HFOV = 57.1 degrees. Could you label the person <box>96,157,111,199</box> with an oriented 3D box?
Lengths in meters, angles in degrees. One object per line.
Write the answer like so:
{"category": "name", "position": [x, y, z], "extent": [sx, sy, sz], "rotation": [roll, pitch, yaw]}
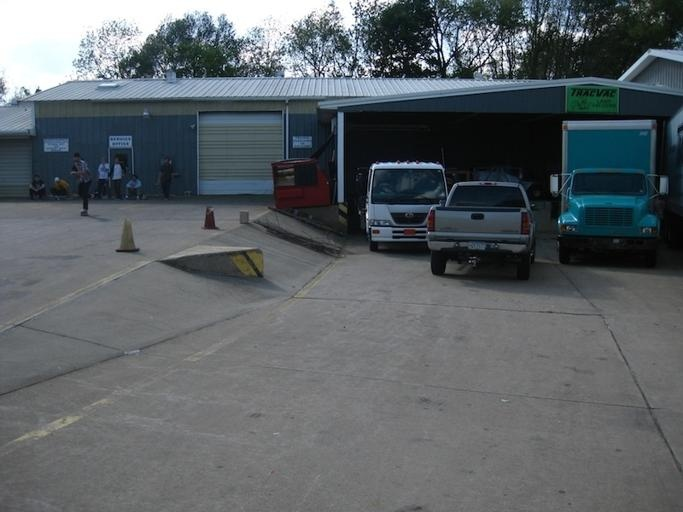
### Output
{"category": "person", "position": [-11.819, -3.870, 31.200], "extent": [0.638, 1.931, 0.928], "rotation": [-3, 8, -21]}

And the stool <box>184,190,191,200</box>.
{"category": "stool", "position": [-7.812, -3.162, 32.013], "extent": [0.373, 0.286, 1.542], "rotation": [-1, 9, -14]}

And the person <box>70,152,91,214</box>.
{"category": "person", "position": [-8.245, -2.313, 19.997], "extent": [0.541, 1.881, 0.657], "rotation": [2, 6, 0]}

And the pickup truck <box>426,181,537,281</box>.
{"category": "pickup truck", "position": [3.305, -0.624, 14.669], "extent": [2.186, 2.125, 2.145], "rotation": [3, 9, 19]}

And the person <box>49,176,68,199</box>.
{"category": "person", "position": [-14.003, -3.345, 31.358], "extent": [0.766, 0.891, 1.133], "rotation": [-3, 9, -24]}

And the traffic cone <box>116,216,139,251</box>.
{"category": "traffic cone", "position": [-4.663, -0.439, 13.783], "extent": [0.554, 0.712, 0.493], "rotation": [0, 2, -16]}

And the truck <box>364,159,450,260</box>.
{"category": "truck", "position": [2.184, -0.936, 21.079], "extent": [2.759, 3.049, 5.337], "rotation": [0, -10, 4]}

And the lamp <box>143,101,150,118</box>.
{"category": "lamp", "position": [-10.026, -7.410, 32.149], "extent": [0.448, 0.688, 0.383], "rotation": [1, 8, 7]}

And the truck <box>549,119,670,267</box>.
{"category": "truck", "position": [7.280, -1.780, 17.077], "extent": [2.524, 3.867, 2.955], "rotation": [3, 8, 21]}
